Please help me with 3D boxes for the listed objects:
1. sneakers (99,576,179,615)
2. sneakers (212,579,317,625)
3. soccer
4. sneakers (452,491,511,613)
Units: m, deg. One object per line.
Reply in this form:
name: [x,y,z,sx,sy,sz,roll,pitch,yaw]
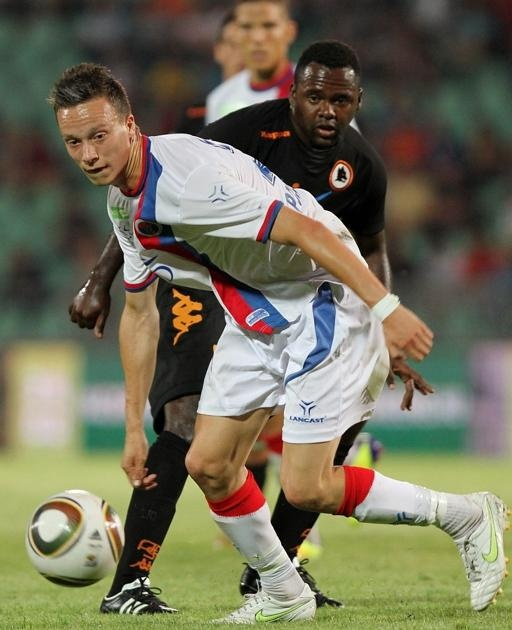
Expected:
sneakers: [-0.393,0.859,2.459,0.285,0.105,0.092,-2,-9,16]
sneakers: [0.042,0.848,2.353,0.336,0.104,0.100,1,-13,-7]
soccer: [-0.534,0.671,2.400,0.295,0.245,0.259,6,-10,-1]
sneakers: [0.712,0.702,2.399,0.223,0.357,0.126,6,-25,-8]
